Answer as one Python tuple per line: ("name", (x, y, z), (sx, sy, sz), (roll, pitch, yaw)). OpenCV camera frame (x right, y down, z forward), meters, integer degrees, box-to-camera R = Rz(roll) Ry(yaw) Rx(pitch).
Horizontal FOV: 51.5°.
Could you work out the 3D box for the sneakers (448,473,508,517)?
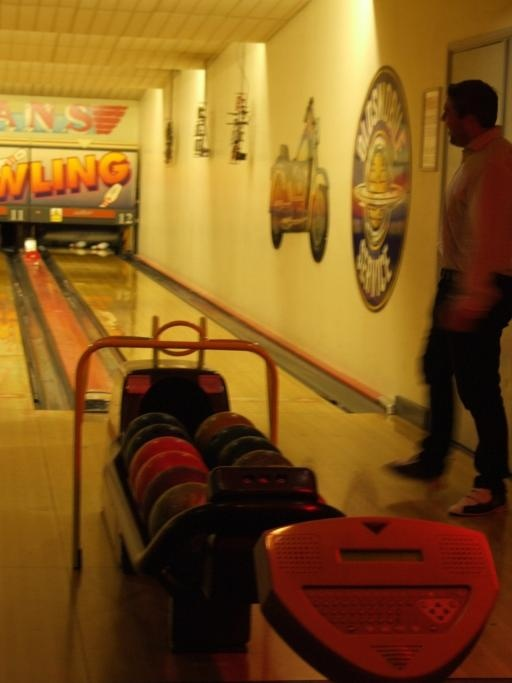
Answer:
("sneakers", (0.870, 0.617, 2.120), (0.252, 0.138, 0.102), (-10, 5, -16))
